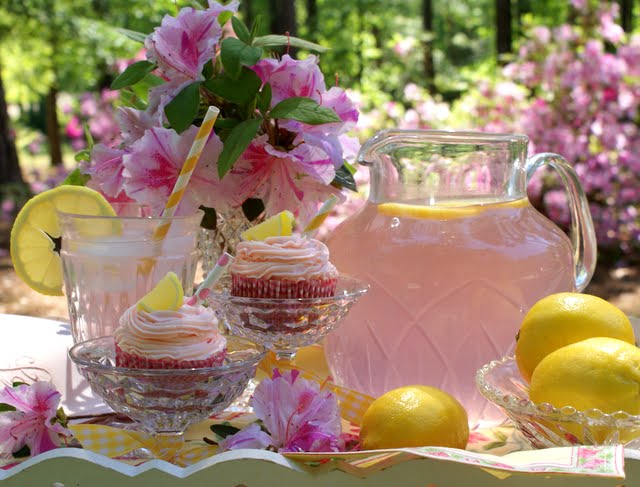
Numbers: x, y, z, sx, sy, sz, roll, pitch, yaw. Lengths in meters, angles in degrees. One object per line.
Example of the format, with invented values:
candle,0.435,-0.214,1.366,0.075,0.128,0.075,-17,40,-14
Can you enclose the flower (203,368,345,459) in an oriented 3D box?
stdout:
flower,-0.043,0.240,1.143,0.148,0.102,0.181,-4,10,-40

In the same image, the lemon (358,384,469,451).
lemon,0.140,0.244,1.128,0.138,0.078,0.098,-6,2,-27

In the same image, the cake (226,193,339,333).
cake,-0.053,0.028,1.190,0.163,0.143,0.123,-1,15,-13

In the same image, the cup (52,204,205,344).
cup,-0.267,0.041,1.232,0.289,0.221,0.231,1,3,2

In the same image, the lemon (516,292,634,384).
lemon,0.370,0.119,1.146,0.177,0.121,0.162,10,9,19

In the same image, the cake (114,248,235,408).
cake,-0.204,0.110,1.046,0.147,0.132,0.084,0,16,-9

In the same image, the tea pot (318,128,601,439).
tea pot,0.274,0.029,1.405,0.506,0.457,0.411,9,13,28

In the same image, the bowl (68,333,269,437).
bowl,-0.212,0.202,1.095,0.261,0.077,0.219,0,-2,-4
